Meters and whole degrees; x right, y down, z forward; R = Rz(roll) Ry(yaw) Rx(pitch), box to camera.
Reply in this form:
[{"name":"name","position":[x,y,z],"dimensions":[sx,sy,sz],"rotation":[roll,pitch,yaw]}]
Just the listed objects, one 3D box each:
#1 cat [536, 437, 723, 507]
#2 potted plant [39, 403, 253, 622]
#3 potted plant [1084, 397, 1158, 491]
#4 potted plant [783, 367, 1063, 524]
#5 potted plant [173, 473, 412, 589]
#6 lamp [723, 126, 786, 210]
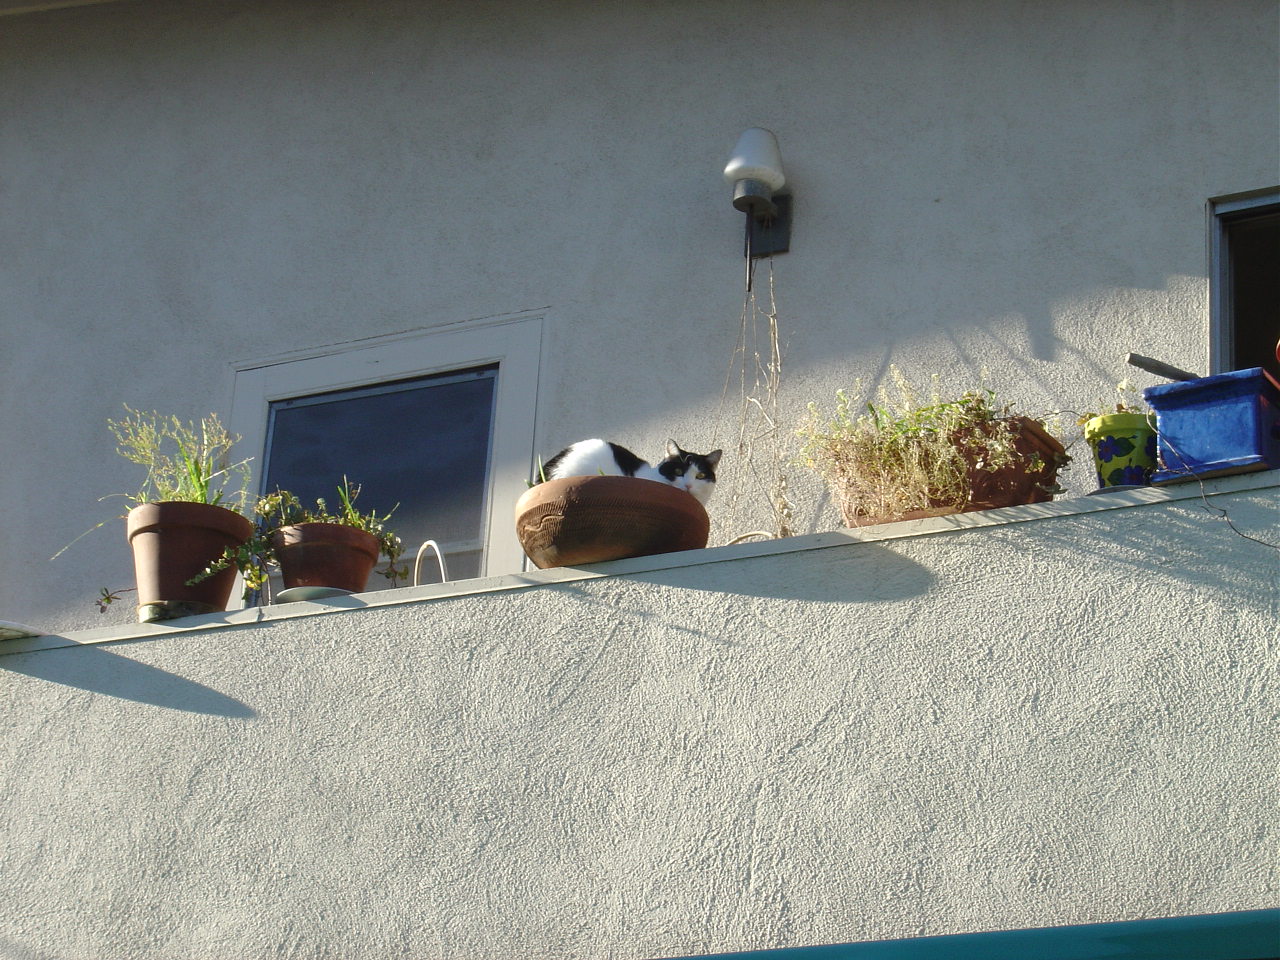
[{"name":"cat","position":[-0.025,-0.033,5.754],"dimensions":[0.377,0.196,0.225],"rotation":[7,-7,11]},{"name":"potted plant","position":[-1.430,0.076,6.073],"dimensions":[0.513,0.568,0.326],"rotation":[-2,-14,-44]},{"name":"potted plant","position":[1.185,-0.079,5.192],"dimensions":[0.175,0.157,0.183],"rotation":[5,-23,-5]},{"name":"potted plant","position":[0.823,-0.036,5.458],"dimensions":[0.563,0.258,0.627],"rotation":[-13,-12,43]},{"name":"potted plant","position":[-0.965,0.164,6.066],"dimensions":[0.437,0.189,0.307],"rotation":[1,-19,-9]},{"name":"lamp","position":[0.350,-0.955,6.367],"dimensions":[0.186,0.204,0.168],"rotation":[5,1,-10]}]
